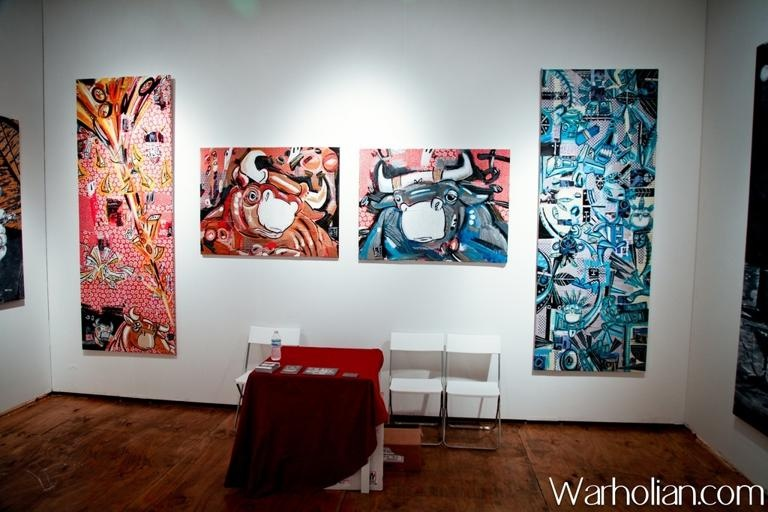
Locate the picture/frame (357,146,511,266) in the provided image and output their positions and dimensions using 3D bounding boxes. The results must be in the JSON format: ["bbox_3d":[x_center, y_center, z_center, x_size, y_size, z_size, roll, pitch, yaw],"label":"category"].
[{"bbox_3d":[0.512,-0.667,6.364,1.854,1.398,0.004,0,-1,23],"label":"picture/frame"}]

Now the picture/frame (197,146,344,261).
[{"bbox_3d":[-1.320,-0.682,6.462,1.401,1.061,0.011,0,6,7],"label":"picture/frame"}]

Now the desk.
[{"bbox_3d":[-0.797,1.768,5.988,1.513,1.051,1.346,1,-1,0],"label":"desk"}]

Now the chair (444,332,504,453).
[{"bbox_3d":[1.042,1.582,6.209,0.681,1.193,0.612,1,8,8],"label":"chair"}]

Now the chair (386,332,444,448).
[{"bbox_3d":[0.365,1.556,6.268,0.681,1.193,0.583,1,8,6],"label":"chair"}]
